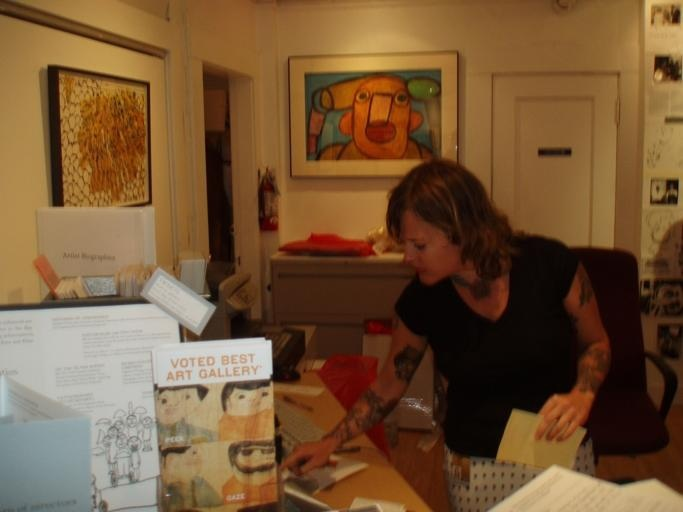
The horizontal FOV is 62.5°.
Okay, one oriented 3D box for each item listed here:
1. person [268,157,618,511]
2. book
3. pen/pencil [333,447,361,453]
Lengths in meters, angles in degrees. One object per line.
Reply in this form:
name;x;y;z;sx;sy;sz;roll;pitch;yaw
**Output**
person;0.418;0.267;1.859;0.922;1.170;0.425;-2;6;9
book;-0.589;0.062;1.408;0.374;0.075;0.169;0;8;24
pen/pencil;0.017;0.660;1.920;0.105;0.024;0.026;-1;-21;-8
